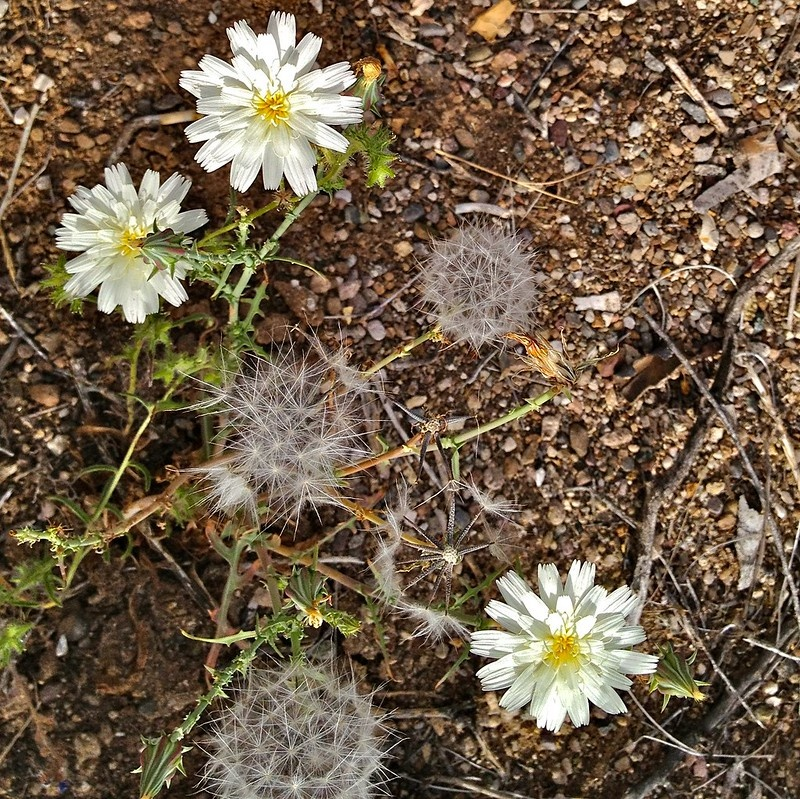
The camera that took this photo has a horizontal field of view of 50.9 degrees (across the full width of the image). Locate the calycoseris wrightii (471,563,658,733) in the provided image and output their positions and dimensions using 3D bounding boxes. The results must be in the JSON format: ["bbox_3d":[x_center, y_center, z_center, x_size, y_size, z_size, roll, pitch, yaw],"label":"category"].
[{"bbox_3d":[0.484,0.723,2.503,0.520,0.145,0.533,-18,30,-12],"label":"calycoseris wrightii"}]

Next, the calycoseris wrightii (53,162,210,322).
[{"bbox_3d":[-0.818,-0.485,2.544,0.418,0.186,0.433,15,62,6],"label":"calycoseris wrightii"}]
